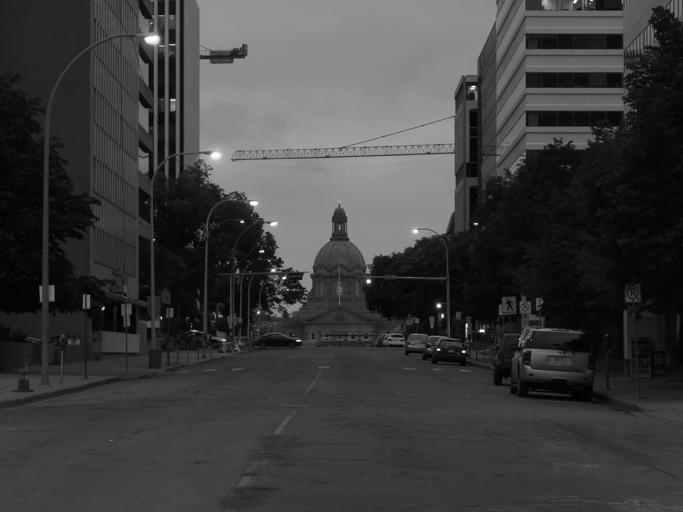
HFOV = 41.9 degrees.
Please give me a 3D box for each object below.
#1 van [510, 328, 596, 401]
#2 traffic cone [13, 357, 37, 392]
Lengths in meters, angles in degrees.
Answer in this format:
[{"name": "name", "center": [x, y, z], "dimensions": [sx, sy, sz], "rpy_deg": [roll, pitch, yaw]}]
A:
[{"name": "van", "center": [6.395, 3.321, 27.503], "dimensions": [2.052, 2.250, 4.291], "rpy_deg": [4, -4, 8]}, {"name": "traffic cone", "center": [-9.471, 3.570, 26.644], "dimensions": [0.490, 0.885, 0.530], "rpy_deg": [-1, -9, -22]}]
